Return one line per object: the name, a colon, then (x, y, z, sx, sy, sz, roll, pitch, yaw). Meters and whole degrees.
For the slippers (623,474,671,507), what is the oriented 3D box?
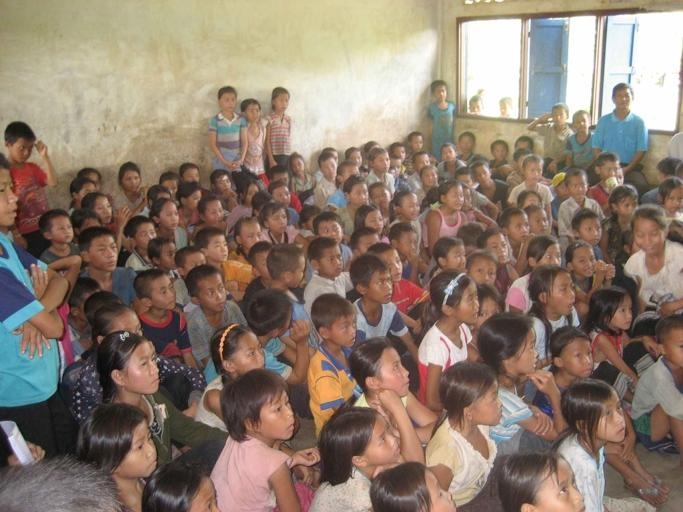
slippers: (1.559, 1.189, 3.130, 0.086, 0.112, 0.258, -42, 11, -11)
